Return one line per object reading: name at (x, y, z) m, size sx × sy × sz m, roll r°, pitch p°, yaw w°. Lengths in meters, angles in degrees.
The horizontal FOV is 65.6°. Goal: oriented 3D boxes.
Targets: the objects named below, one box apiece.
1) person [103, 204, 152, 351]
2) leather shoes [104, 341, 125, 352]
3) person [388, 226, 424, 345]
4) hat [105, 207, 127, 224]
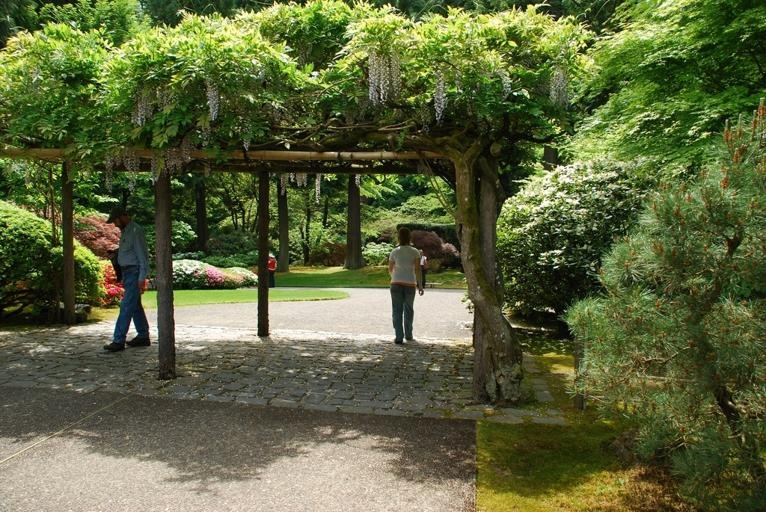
person at (-4.013, 0.400, 9.357) m, size 0.673 × 2.285 × 1.083 m, roll -4°, pitch 15°, yaw -20°
leather shoes at (-4.099, 1.412, 9.144) m, size 0.352 × 0.120 × 0.124 m, roll 9°, pitch -10°, yaw -30°
person at (0.376, 0.531, 10.410) m, size 0.557 × 2.081 × 0.992 m, roll 2°, pitch 14°, yaw 3°
hat at (-4.228, -0.632, 9.323) m, size 0.356 × 0.162 × 0.223 m, roll -3°, pitch 13°, yaw 0°
